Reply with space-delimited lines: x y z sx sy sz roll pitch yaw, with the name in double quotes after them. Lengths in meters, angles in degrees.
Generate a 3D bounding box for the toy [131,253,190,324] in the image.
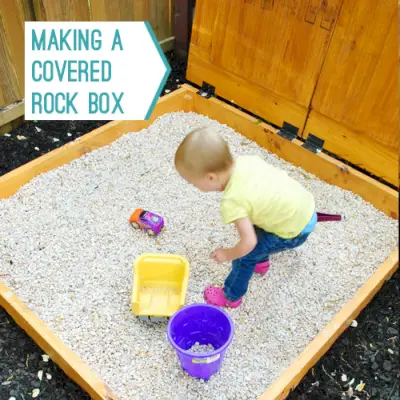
-0.170 0.341 1.452 0.209 0.113 0.261 2 58 0 "toy"

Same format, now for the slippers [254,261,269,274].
0.275 0.304 1.644 0.035 0.083 0.047 33 60 -28 "slippers"

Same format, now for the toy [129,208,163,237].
-0.266 0.102 1.822 0.164 0.072 0.103 30 61 3 "toy"

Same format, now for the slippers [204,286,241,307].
0.094 0.410 1.538 0.141 0.066 0.078 12 43 3 "slippers"
